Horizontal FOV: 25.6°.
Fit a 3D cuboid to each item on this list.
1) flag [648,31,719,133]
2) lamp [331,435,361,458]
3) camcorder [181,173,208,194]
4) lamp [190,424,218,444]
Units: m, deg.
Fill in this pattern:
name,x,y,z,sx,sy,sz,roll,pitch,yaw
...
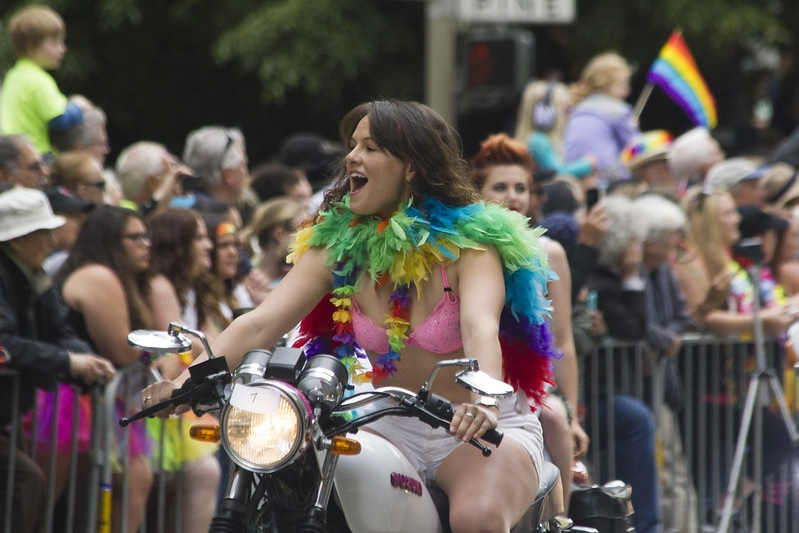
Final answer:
name,x,y,z,sx,sy,sz,roll,pitch,yaw
flag,2.785,-1.748,17.059,0.117,0.886,0.882,-28,21,35
lamp,-0.339,1.144,11.220,0.196,0.116,0.092,2,-15,3
camcorder,-1.708,-0.680,14.558,0.146,0.151,0.151,-3,1,16
lamp,-1.252,1.085,11.279,0.196,0.096,0.093,6,-16,-3
